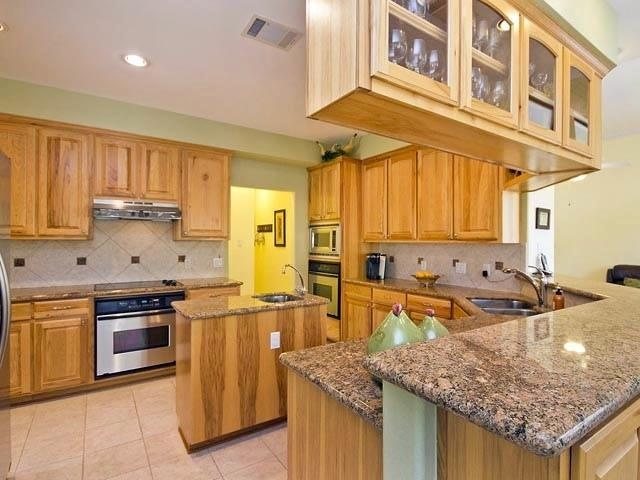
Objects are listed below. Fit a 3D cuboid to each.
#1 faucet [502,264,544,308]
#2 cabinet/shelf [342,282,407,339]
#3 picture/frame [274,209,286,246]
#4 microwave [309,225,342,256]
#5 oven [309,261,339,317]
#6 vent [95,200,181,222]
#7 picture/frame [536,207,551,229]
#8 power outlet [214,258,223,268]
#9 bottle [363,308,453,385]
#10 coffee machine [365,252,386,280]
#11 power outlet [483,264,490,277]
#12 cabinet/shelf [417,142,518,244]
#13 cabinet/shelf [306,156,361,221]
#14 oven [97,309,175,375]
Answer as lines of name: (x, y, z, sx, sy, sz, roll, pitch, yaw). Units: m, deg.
faucet: (1.681, 0.329, 3.724, 0.285, 0.336, 0.802, 6, 12, 26)
cabinet/shelf: (0.516, 0.635, 4.317, 0.328, 0.716, 0.768, 4, -3, -25)
picture/frame: (-0.569, -0.186, 6.690, 0.046, 0.621, 0.532, 1, -3, -23)
microwave: (0.086, -0.001, 5.692, 0.184, 0.321, 0.374, 5, -6, -27)
oven: (0.071, 0.561, 5.829, 0.504, 0.644, 0.464, 7, 4, 20)
vent: (-1.814, -0.314, 4.601, 0.811, 0.218, 0.210, -3, 12, -20)
picture/frame: (2.026, -0.210, 4.167, 0.211, 0.180, 0.027, 1, -1, -42)
power outlet: (-1.190, 0.262, 5.383, 0.124, 0.105, 0.017, 1, -4, -41)
bottle: (0.386, 0.490, 2.205, 0.453, 0.443, 0.277, -5, -8, -9)
coffee machine: (0.672, 0.322, 5.545, 0.263, 0.355, 0.295, -2, -6, 42)
power outlet: (1.634, 0.296, 4.484, 0.023, 0.128, 0.099, -5, 13, -26)
cabinet/shelf: (1.327, -0.396, 4.021, 0.319, 0.875, 0.944, -2, 4, -30)
cabinet/shelf: (0.203, -0.652, 5.650, 0.333, 0.777, 0.838, 2, -3, -33)
oven: (-1.843, 0.866, 4.555, 0.763, 0.639, 0.506, 2, -3, -37)
